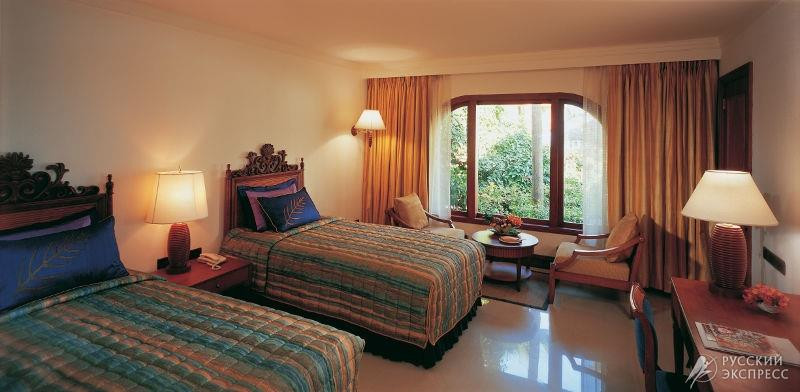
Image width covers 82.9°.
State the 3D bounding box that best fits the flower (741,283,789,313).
[{"bbox_3d":[4.406,1.253,5.454,0.463,0.269,0.423,1,0,-21],"label":"flower"}]

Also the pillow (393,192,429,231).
[{"bbox_3d":[0.213,0.323,8.861,0.502,0.676,0.866,4,13,17],"label":"pillow"}]

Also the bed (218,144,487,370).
[{"bbox_3d":[-0.752,0.602,7.384,3.877,2.376,2.415,11,16,29],"label":"bed"}]

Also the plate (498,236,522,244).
[{"bbox_3d":[1.891,0.786,7.866,0.238,0.042,0.169,4,20,9],"label":"plate"}]

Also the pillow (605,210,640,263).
[{"bbox_3d":[3.650,0.689,7.431,0.493,0.686,0.880,2,7,16],"label":"pillow"}]

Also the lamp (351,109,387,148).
[{"bbox_3d":[-0.694,-1.350,9.117,0.640,0.757,0.673,-1,11,-7],"label":"lamp"}]

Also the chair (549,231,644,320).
[{"bbox_3d":[3.306,1.281,7.857,1.443,1.040,1.188,2,-5,21],"label":"chair"}]

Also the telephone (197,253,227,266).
[{"bbox_3d":[-2.814,0.949,6.726,0.245,0.076,0.231,8,7,15],"label":"telephone"}]

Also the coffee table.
[{"bbox_3d":[1.775,1.279,8.184,1.166,0.770,1.118,4,-6,-19],"label":"coffee table"}]

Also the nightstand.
[{"bbox_3d":[-2.993,1.275,6.699,0.839,0.526,1.226,20,25,26],"label":"nightstand"}]
